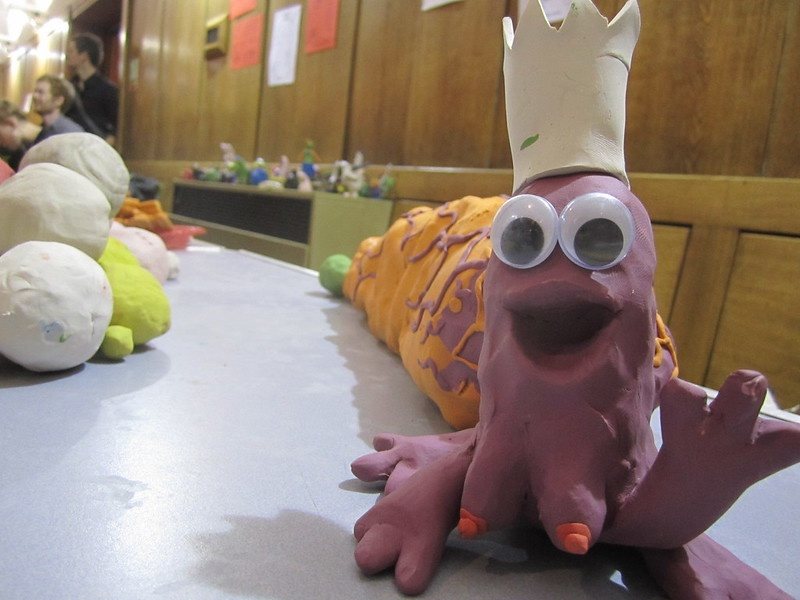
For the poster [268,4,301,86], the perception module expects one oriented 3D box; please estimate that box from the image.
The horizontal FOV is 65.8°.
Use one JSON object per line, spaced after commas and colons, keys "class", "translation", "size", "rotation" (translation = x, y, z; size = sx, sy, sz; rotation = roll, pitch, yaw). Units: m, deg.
{"class": "poster", "translation": [-0.710, -1.594, 3.826], "size": [0.058, 0.571, 0.493], "rotation": [0, 13, -27]}
